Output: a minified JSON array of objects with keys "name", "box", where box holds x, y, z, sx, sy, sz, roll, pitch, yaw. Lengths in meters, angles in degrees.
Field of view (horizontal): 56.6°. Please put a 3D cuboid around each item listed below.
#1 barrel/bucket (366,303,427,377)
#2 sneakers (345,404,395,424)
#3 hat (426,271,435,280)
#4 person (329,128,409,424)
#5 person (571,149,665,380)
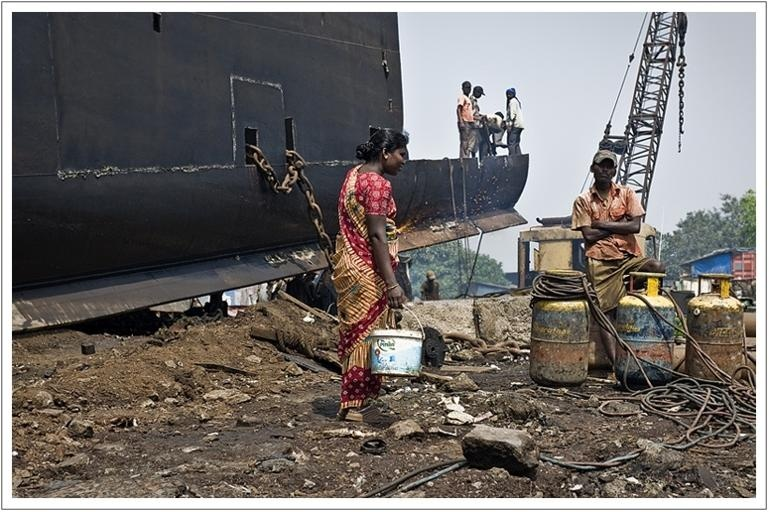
[{"name":"barrel/bucket","box":[0.137,0.957,7.393,0.643,0.723,0.525,2,-12,0]},{"name":"sneakers","box":[-0.166,1.651,7.345,0.310,0.111,0.234,6,-7,-38]},{"name":"hat","box":[1.240,0.516,18.755,0.207,0.213,0.166,2,-4,-2]},{"name":"person","box":[-0.164,0.202,7.371,0.743,2.963,0.791,0,11,0]},{"name":"person","box":[2.774,-0.226,8.706,0.954,2.088,0.557,3,11,13]}]
